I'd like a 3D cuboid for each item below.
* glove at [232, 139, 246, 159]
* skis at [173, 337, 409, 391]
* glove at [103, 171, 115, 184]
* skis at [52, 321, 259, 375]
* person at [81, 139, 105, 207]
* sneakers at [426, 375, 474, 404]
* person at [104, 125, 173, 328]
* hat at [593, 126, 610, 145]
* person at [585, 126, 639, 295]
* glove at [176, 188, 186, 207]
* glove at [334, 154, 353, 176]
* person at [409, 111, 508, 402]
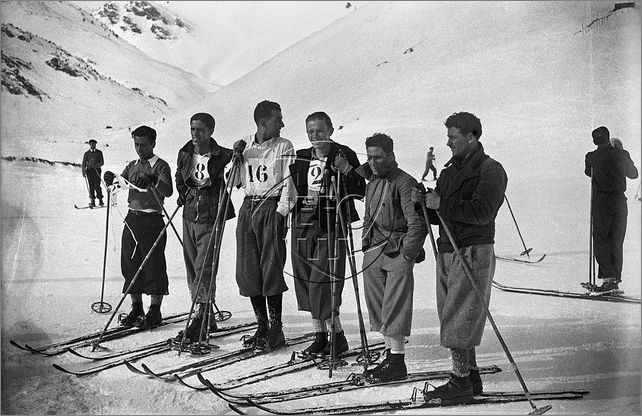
[{"bbox_3d":[-0.943,-0.675,6.426,0.143,0.195,0.067,6,5,-38],"label":"glove"},{"bbox_3d":[-0.323,1.744,6.198,1.754,0.183,0.239,-11,15,-22],"label":"skis"},{"bbox_3d":[-2.668,-0.377,7.020,0.141,0.191,0.247,3,-4,-21],"label":"glove"},{"bbox_3d":[-1.958,1.664,6.609,0.293,0.180,2.105,16,17,41],"label":"skis"},{"bbox_3d":[-3.193,-0.476,7.818,0.300,0.894,0.631,3,-4,-21],"label":"person"},{"bbox_3d":[1.325,1.824,5.671,0.566,0.258,0.210,1,-3,-1],"label":"sneakers"},{"bbox_3d":[-2.283,0.243,7.142,0.756,2.546,0.636,2,-4,-5],"label":"person"},{"bbox_3d":[3.948,-1.023,7.888,0.195,0.245,0.261,7,2,15],"label":"hat"},{"bbox_3d":[4.093,0.042,7.905,0.654,2.357,0.346,1,-4,11],"label":"person"},{"bbox_3d":[-1.733,-0.122,6.927,0.058,0.184,0.132,17,-9,-43],"label":"glove"},{"bbox_3d":[0.239,-0.471,6.133,0.211,0.166,0.074,37,8,2],"label":"glove"},{"bbox_3d":[1.439,0.497,5.641,0.821,2.886,0.467,0,-4,18],"label":"person"}]
